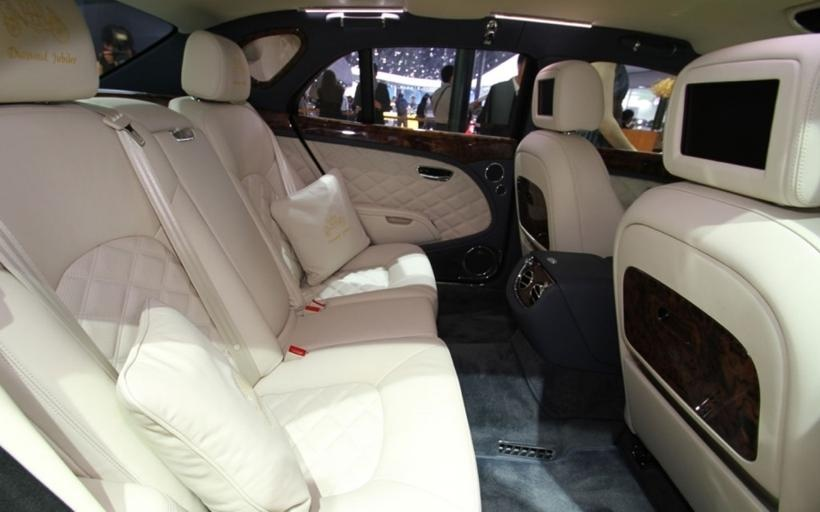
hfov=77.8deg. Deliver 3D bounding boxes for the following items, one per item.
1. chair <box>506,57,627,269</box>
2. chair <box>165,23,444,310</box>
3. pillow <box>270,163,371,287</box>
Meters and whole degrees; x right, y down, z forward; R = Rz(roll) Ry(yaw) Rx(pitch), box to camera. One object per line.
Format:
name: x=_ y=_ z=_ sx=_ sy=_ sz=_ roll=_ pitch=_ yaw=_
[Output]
chair: x=0.871 y=-0.433 z=2.445 sx=0.719 sy=0.950 sz=0.618 roll=-3 pitch=22 yaw=3
chair: x=-0.410 y=-0.590 z=2.835 sx=1.355 sy=1.625 sz=0.971 roll=1 pitch=20 yaw=4
pillow: x=-0.412 y=-0.124 z=2.357 sx=0.149 sy=0.463 sz=0.532 roll=-10 pitch=18 yaw=38
